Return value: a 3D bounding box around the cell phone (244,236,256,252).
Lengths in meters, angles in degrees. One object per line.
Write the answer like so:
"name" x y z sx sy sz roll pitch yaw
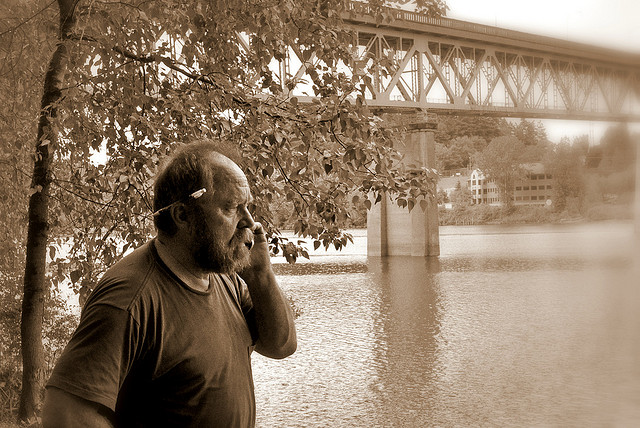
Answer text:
"cell phone" -0.540 0.231 5.298 0.076 0.087 0.064 37 9 11
